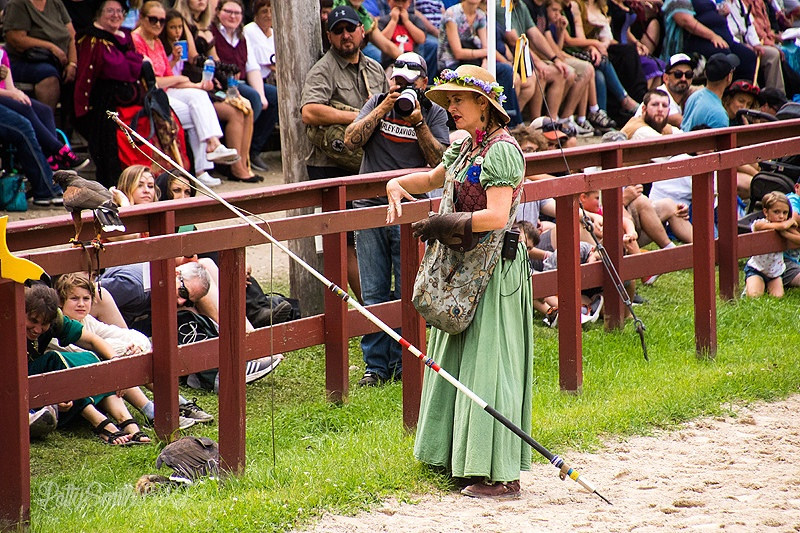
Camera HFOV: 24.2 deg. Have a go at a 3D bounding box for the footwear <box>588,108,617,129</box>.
[{"bbox_3d":[2.640,-1.861,23.753,0.445,0.202,0.165,13,27,16],"label":"footwear"}]

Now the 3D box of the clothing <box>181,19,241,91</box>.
[{"bbox_3d":[-2.111,-2.264,20.847,0.535,0.783,0.276,18,45,33],"label":"clothing"}]

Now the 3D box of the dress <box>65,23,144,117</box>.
[{"bbox_3d":[-3.012,-2.094,19.912,0.819,0.955,0.865,1,15,7],"label":"dress"}]

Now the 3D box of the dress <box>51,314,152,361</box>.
[{"bbox_3d":[-2.690,0.698,17.202,0.698,0.238,0.444,17,12,-11],"label":"dress"}]

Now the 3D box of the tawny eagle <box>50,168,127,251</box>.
[{"bbox_3d":[-2.633,-0.518,15.807,0.837,0.640,0.356,-1,2,41],"label":"tawny eagle"}]

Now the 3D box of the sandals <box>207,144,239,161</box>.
[{"bbox_3d":[-1.939,-1.254,20.556,0.296,0.144,0.153,-2,7,30],"label":"sandals"}]

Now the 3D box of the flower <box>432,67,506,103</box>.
[{"bbox_3d":[0.594,-1.586,15.601,0.369,0.159,0.357,-2,-17,34],"label":"flower"}]

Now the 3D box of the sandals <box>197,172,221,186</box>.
[{"bbox_3d":[-2.081,-0.946,20.394,0.269,0.120,0.134,15,27,-6],"label":"sandals"}]

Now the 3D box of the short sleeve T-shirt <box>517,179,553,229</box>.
[{"bbox_3d":[1.304,-0.614,18.095,0.486,0.566,0.286,-6,5,-40],"label":"short sleeve T-shirt"}]

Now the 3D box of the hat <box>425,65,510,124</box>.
[{"bbox_3d":[0.611,-1.528,15.774,0.710,0.375,0.674,15,9,37],"label":"hat"}]

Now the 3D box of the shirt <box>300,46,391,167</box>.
[{"bbox_3d":[-0.567,-1.545,18.464,1.148,1.323,0.662,-2,4,-40],"label":"shirt"}]

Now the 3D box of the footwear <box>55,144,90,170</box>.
[{"bbox_3d":[-3.456,-1.135,19.669,0.459,0.208,0.146,-3,23,-17],"label":"footwear"}]

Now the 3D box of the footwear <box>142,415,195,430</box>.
[{"bbox_3d":[-2.121,1.436,17.150,0.450,0.206,0.166,-1,0,3],"label":"footwear"}]

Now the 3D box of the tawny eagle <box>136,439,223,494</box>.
[{"bbox_3d":[-1.886,1.725,16.059,0.669,0.275,0.399,-35,10,2],"label":"tawny eagle"}]

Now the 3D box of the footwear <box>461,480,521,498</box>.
[{"bbox_3d":[0.798,1.902,15.924,0.511,0.234,0.188,4,-3,-6],"label":"footwear"}]

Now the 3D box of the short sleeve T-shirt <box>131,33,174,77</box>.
[{"bbox_3d":[-2.679,-2.279,20.080,0.257,0.505,0.423,-7,8,27],"label":"short sleeve T-shirt"}]

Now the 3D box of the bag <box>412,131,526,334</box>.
[{"bbox_3d":[0.548,-0.217,15.914,0.560,1.790,1.100,18,-13,-30],"label":"bag"}]

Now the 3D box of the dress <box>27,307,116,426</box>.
[{"bbox_3d":[-2.963,0.799,17.240,0.544,1.271,0.727,3,10,24],"label":"dress"}]

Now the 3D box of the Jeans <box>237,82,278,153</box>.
[{"bbox_3d":[-1.605,-1.726,21.571,0.551,0.775,0.254,-8,11,-43],"label":"Jeans"}]

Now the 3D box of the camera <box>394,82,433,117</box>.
[{"bbox_3d":[0.128,-1.627,17.690,0.294,0.192,0.329,27,20,5],"label":"camera"}]

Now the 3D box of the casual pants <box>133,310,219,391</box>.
[{"bbox_3d":[-2.057,0.836,17.745,0.781,0.844,0.812,2,-11,-42],"label":"casual pants"}]
